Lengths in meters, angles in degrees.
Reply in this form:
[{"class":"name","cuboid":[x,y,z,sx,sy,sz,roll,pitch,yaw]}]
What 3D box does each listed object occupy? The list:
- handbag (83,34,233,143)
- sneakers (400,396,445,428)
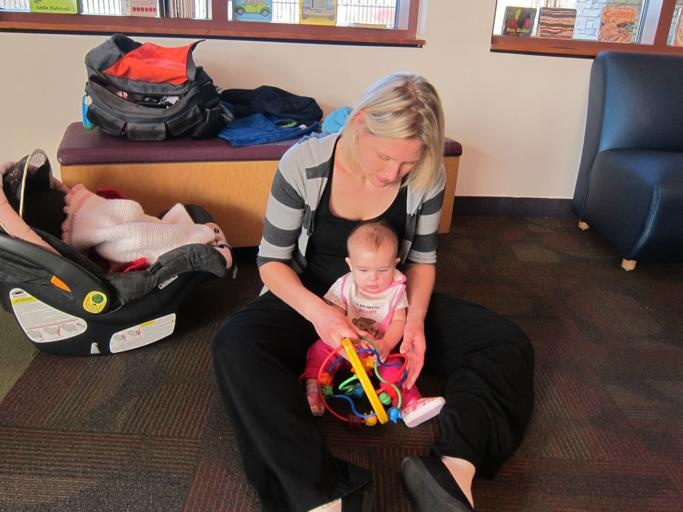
[{"class":"handbag","cuboid":[-0.842,-0.775,2.466,0.612,0.304,0.474,1,21,-7]},{"class":"sneakers","cuboid":[0.266,0.503,1.723,0.160,0.074,0.068,-31,46,12]}]
